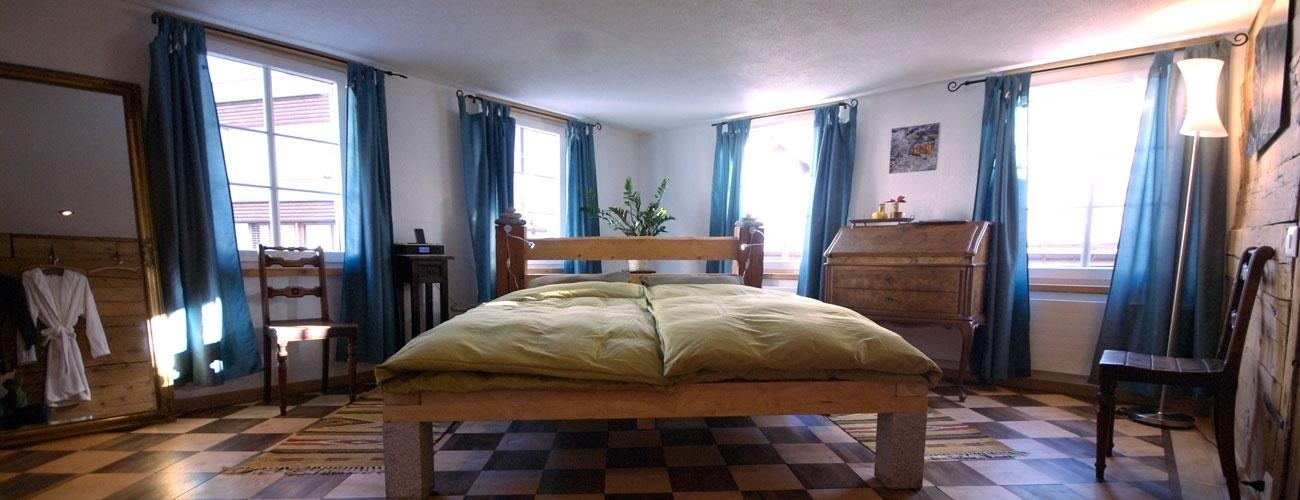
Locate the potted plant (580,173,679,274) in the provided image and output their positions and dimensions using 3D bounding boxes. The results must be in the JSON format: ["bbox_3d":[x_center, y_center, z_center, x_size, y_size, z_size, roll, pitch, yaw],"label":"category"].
[{"bbox_3d":[-0.220,-0.386,10.833,2.322,1.307,1.619,-2,0,-1],"label":"potted plant"}]
